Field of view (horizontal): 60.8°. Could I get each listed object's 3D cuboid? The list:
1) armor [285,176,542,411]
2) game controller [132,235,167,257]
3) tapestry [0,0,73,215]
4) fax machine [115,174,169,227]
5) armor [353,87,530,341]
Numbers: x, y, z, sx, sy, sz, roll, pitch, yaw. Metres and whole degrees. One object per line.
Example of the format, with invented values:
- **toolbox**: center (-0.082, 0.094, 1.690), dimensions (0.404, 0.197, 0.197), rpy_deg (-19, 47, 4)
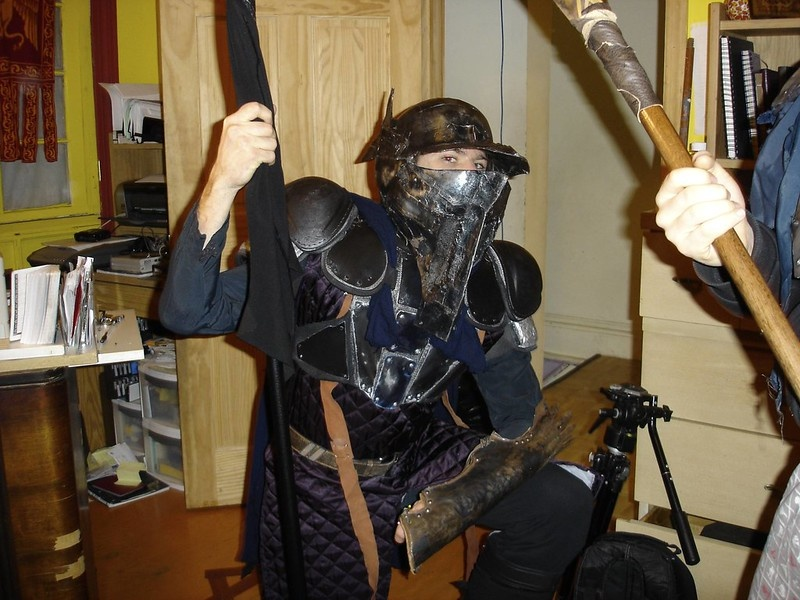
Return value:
- **armor**: center (0.012, 0.019, 1.860), dimensions (0.765, 0.524, 0.320), rpy_deg (16, 3, -12)
- **game controller**: center (-1.198, -0.272, 3.355), dimensions (0.132, 0.054, 0.137), rpy_deg (16, 19, 36)
- **tapestry**: center (-2.461, -1.321, 4.665), dimensions (0.186, 1.418, 0.500), rpy_deg (7, 8, 40)
- **fax machine**: center (-1.333, -0.533, 3.601), dimensions (0.323, 0.220, 0.354), rpy_deg (2, 18, -12)
- **armor**: center (0.098, -0.247, 1.909), dimensions (0.464, 0.637, 0.355), rpy_deg (7, 1, 43)
